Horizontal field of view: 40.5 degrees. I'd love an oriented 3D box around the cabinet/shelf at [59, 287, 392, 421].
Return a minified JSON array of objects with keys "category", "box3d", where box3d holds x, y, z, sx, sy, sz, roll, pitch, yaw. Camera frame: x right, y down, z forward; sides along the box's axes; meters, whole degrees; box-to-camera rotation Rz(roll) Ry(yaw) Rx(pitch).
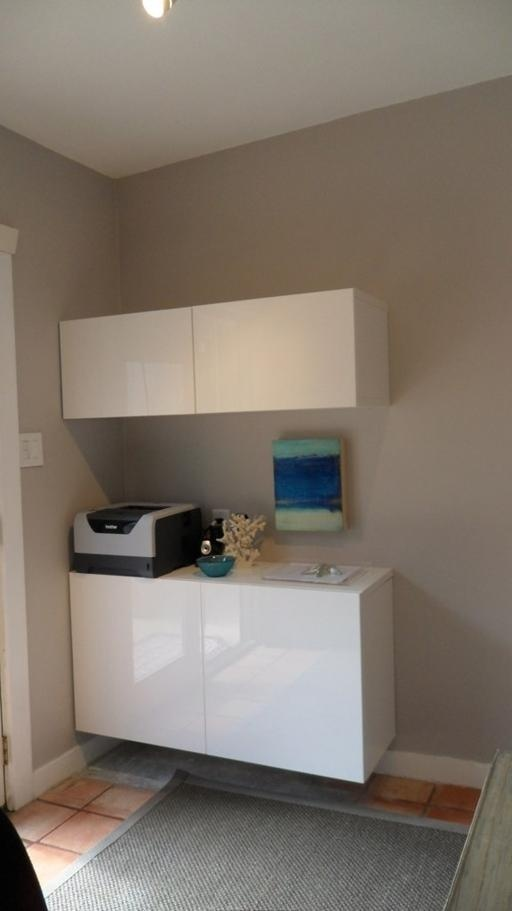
[{"category":"cabinet/shelf","box3d":[-0.175,-0.296,2.577,1.084,0.416,0.356,-4,-12,11]}]
